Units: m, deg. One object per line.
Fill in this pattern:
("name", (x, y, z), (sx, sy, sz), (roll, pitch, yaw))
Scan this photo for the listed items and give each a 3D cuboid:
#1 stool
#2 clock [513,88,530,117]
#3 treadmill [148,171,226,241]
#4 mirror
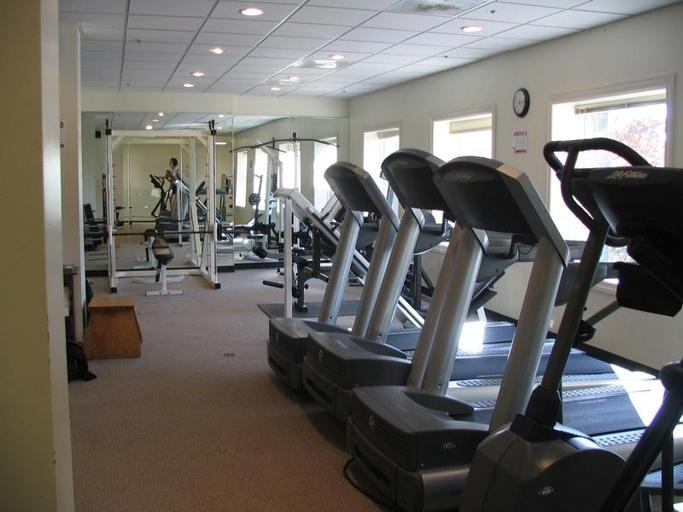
("stool", (-2.086, 0.669, 4.804), (0.482, 0.537, 0.371), (5, 9, 31))
("clock", (2.016, -1.705, 5.875), (0.044, 0.318, 0.237), (-3, 8, -24))
("treadmill", (-2.447, -0.741, 8.203), (0.734, 1.104, 0.922), (0, 8, -30))
("mirror", (-2.025, -1.010, 8.037), (2.889, 1.863, 0.790), (-1, 0, -23))
